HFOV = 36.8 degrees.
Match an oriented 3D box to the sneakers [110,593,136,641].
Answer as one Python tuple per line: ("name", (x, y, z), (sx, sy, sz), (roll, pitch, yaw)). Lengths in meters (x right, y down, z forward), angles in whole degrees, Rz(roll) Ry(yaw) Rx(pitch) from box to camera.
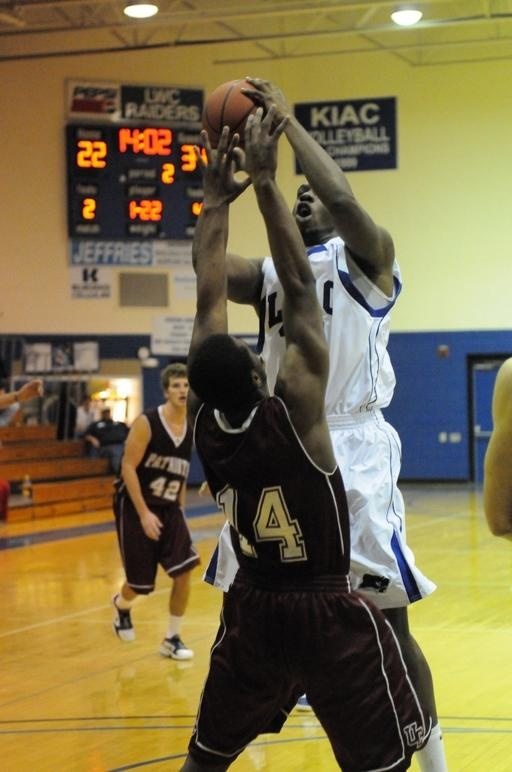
("sneakers", (-0.701, 1.236, 4.060), (0.097, 0.268, 0.112), (-11, 5, -15))

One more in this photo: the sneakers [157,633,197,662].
("sneakers", (-0.412, 1.366, 4.021), (0.081, 0.101, 0.202), (11, -11, -41))

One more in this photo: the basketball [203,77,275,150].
("basketball", (-0.061, -0.662, 1.875), (0.119, 0.142, 0.124), (9, -6, 43))

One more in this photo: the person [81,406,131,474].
("person", (-2.121, 0.786, 10.758), (0.452, 0.947, 0.544), (2, -35, 12))
